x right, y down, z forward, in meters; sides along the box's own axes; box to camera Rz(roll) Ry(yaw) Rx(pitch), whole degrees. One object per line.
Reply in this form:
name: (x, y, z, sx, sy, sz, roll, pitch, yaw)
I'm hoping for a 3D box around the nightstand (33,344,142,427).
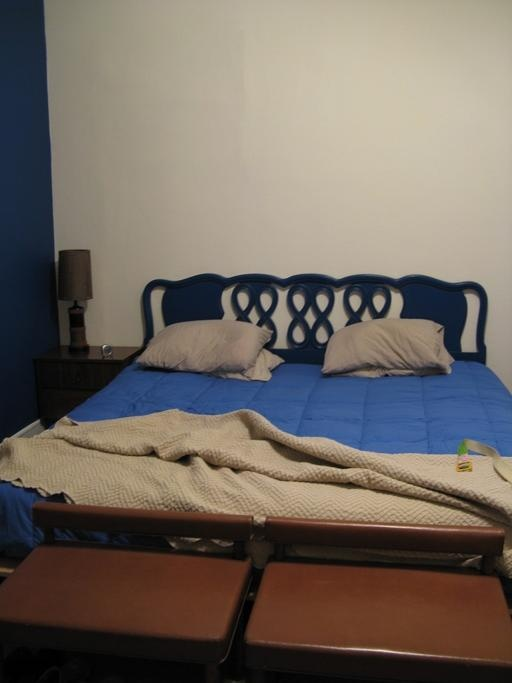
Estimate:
nightstand: (-0.967, 0.290, 3.532, 0.530, 0.403, 0.329, 1, 7, 9)
